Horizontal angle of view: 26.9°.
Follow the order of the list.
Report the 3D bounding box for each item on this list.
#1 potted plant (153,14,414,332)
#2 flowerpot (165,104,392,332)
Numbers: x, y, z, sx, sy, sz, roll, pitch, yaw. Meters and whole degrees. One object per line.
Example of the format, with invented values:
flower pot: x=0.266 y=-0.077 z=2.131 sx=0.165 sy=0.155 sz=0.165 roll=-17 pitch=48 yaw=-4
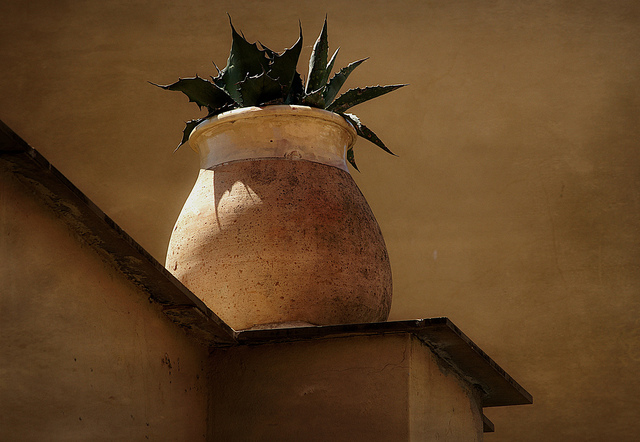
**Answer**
potted plant: x=-0.152 y=-0.067 z=4.680 sx=0.783 sy=1.126 sz=0.809 roll=-19 pitch=-23 yaw=39
flowerpot: x=-0.158 y=0.062 z=4.663 sx=0.712 sy=0.707 sz=0.726 roll=0 pitch=-13 yaw=-3
